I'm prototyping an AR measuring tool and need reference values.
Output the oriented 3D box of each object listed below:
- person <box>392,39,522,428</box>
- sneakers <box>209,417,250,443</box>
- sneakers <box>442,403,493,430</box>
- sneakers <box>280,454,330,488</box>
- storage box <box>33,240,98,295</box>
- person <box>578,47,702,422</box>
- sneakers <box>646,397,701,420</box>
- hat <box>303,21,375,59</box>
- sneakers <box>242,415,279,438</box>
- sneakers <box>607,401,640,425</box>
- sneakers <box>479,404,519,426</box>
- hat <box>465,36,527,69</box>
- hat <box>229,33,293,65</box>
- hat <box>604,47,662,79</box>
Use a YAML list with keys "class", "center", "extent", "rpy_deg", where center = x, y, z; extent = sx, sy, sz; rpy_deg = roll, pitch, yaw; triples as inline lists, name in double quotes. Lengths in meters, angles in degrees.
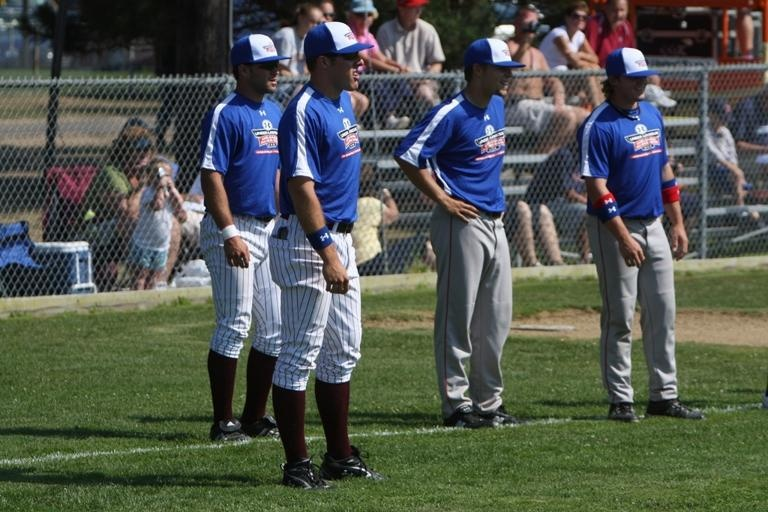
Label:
- class: "person"
  center: [0.713, -0.208, 12.168]
  extent: [1.010, 3.389, 1.013]
  rpy_deg: [-1, 14, -4]
- class: "sneakers"
  center: [-1.384, 1.565, 11.911]
  extent: [0.347, 0.183, 0.248]
  rpy_deg: [-5, 16, -17]
- class: "sneakers"
  center: [0.747, 1.480, 12.119]
  extent: [0.426, 0.205, 0.187]
  rpy_deg: [-1, 1, 7]
- class: "sneakers"
  center: [-0.656, 1.788, 11.013]
  extent: [0.382, 0.216, 0.237]
  rpy_deg: [-1, 15, -5]
- class: "storage box"
  center: [-3.761, 0.083, 15.823]
  extent: [0.684, 0.693, 0.572]
  rpy_deg: [-1, 2, -19]
- class: "person"
  center: [2.324, -0.198, 12.310]
  extent: [1.103, 3.282, 1.163]
  rpy_deg: [2, 14, 8]
- class: "sneakers"
  center: [2.661, 1.416, 12.298]
  extent: [0.500, 0.217, 0.187]
  rpy_deg: [-1, 2, 9]
- class: "hat"
  center: [-0.432, -1.800, 11.139]
  extent: [0.418, 0.247, 0.306]
  rpy_deg: [-2, 18, -4]
- class: "sneakers"
  center: [-1.109, 1.571, 12.072]
  extent: [0.345, 0.171, 0.205]
  rpy_deg: [0, 3, 1]
- class: "sneakers"
  center: [2.198, 1.452, 12.212]
  extent: [0.121, 0.163, 0.356]
  rpy_deg: [2, -5, -39]
- class: "sneakers"
  center: [1.039, 1.460, 12.236]
  extent: [0.427, 0.198, 0.151]
  rpy_deg: [1, 10, -2]
- class: "hat"
  center: [0.976, -1.844, 12.159]
  extent: [0.393, 0.208, 0.285]
  rpy_deg: [4, 19, -2]
- class: "hat"
  center: [-1.173, -1.827, 11.920]
  extent: [0.374, 0.235, 0.276]
  rpy_deg: [3, 18, 3]
- class: "hat"
  center: [2.253, -1.779, 12.276]
  extent: [0.382, 0.211, 0.262]
  rpy_deg: [6, 23, 25]
